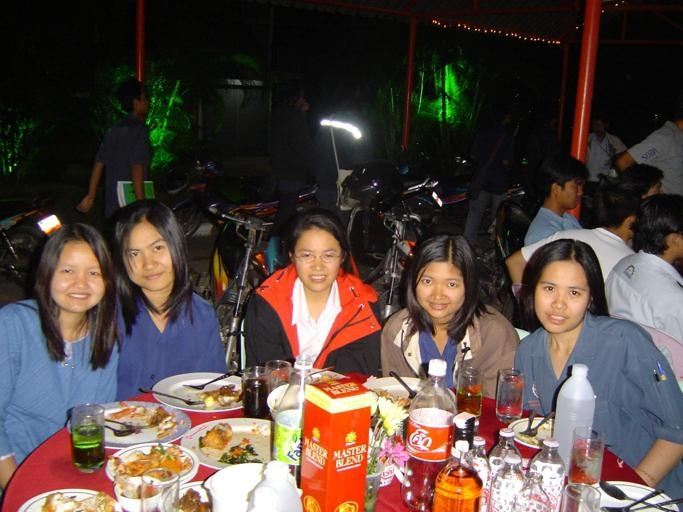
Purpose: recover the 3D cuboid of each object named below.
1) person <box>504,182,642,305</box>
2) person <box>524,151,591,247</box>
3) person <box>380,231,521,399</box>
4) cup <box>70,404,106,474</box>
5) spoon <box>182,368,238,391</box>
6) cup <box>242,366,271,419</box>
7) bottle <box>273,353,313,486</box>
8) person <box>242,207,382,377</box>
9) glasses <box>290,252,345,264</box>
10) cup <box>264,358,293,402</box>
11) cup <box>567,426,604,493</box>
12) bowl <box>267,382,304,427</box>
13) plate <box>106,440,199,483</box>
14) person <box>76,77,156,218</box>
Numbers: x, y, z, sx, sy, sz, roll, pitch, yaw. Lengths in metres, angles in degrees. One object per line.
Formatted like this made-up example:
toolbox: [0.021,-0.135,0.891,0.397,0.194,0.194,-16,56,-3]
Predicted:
person: [1.895,-0.107,3.905,0.495,1.295,0.711,17,42,20]
person: [2.377,-0.614,5.270,0.582,1.058,1.196,8,34,22]
person: [0.757,0.421,3.346,0.963,1.551,0.495,2,25,9]
cup: [-1.078,0.774,2.037,0.151,0.263,0.147,0,-4,0]
spoon: [-0.775,0.719,2.758,0.297,0.043,0.044,-7,30,-37]
cup: [-0.452,0.713,2.481,0.145,0.246,0.149,1,0,0]
bottle: [-0.196,0.626,1.795,0.131,0.496,0.141,2,9,0]
person: [-0.188,0.405,3.430,0.930,1.445,0.782,3,20,0]
glasses: [-0.160,0.006,3.195,0.340,0.070,0.165,2,10,-7]
cup: [-0.330,0.632,2.484,0.124,0.210,0.123,3,18,-1]
cup: [1.005,0.845,1.997,0.133,0.227,0.133,-1,6,0]
bowl: [-0.258,0.618,2.050,0.201,0.173,0.235,1,-5,-12]
plate: [-0.784,0.859,1.950,0.360,0.060,0.369,10,-2,-22]
person: [-2.778,-1.342,5.940,0.775,1.761,0.556,3,9,0]
